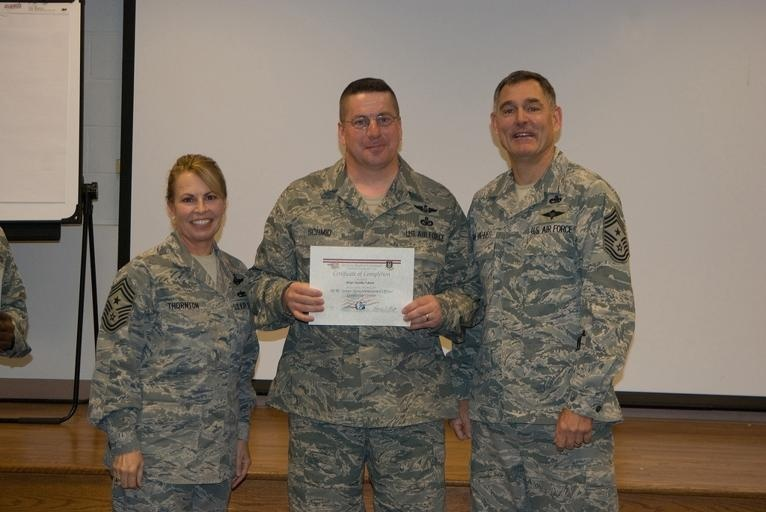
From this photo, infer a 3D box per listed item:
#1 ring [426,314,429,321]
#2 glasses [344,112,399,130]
[{"bbox_3d":[0.225,0.311,4.234,0.020,0.030,0.006,1,-2,-17],"label":"ring"},{"bbox_3d":[-0.050,-0.689,4.308,0.252,0.086,0.048,1,-2,-5],"label":"glasses"}]
